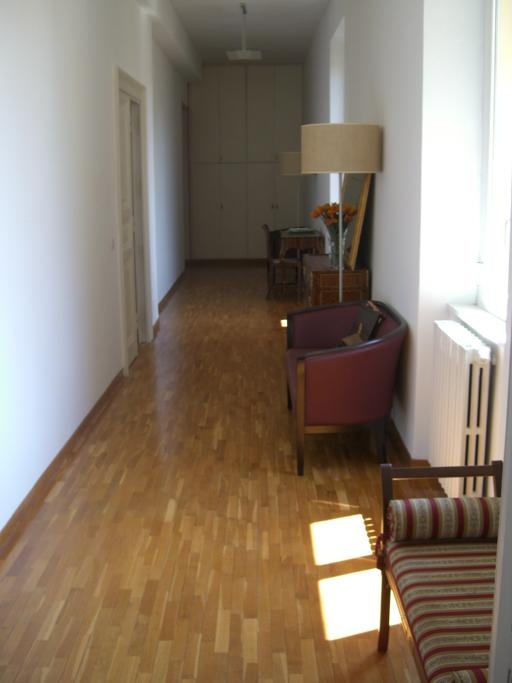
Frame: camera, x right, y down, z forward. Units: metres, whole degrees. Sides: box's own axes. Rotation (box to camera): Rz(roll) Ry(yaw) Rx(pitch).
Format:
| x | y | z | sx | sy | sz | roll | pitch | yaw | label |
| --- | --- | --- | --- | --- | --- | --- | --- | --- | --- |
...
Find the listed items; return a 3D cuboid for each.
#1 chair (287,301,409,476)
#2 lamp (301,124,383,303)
| x | y | z | sx | sy | sz | roll | pitch | yaw | label |
| --- | --- | --- | --- | --- | --- | --- | --- | --- | --- |
| 0.608 | 0.233 | 3.610 | 0.740 | 1.000 | 1.273 | 0 | 8 | 0 | chair |
| 0.709 | -1.076 | 4.066 | 0.608 | 1.548 | 1.049 | 2 | 8 | 16 | lamp |
